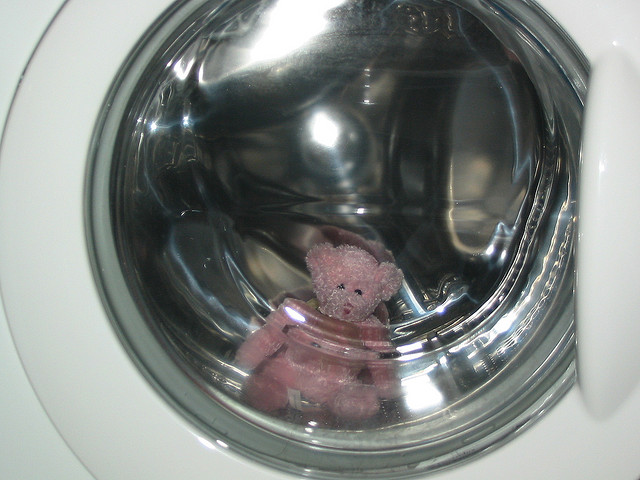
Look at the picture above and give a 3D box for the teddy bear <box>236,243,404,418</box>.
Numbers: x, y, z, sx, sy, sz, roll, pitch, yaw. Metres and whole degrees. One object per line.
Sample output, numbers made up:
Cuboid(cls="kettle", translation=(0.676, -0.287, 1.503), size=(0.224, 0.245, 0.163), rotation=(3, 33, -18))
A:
Cuboid(cls="teddy bear", translation=(0.011, 0.127, 0.830), size=(0.204, 0.134, 0.239), rotation=(11, -87, -2))
